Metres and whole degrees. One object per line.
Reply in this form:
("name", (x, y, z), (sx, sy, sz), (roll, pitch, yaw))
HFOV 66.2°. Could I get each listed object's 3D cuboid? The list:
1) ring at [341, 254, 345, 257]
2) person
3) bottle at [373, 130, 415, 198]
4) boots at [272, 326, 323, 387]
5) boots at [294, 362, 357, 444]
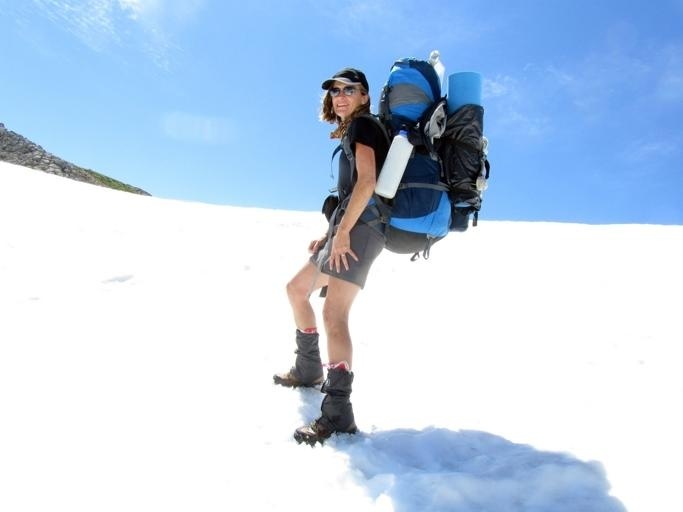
("ring", (0.012, -0.005, 4.710), (0.039, 0.021, 0.024), (-2, -4, 43))
("person", (-0.138, -0.067, 4.860), (0.987, 3.248, 1.415), (4, 15, 19))
("bottle", (0.463, -0.808, 4.702), (0.339, 0.609, 0.176), (-13, 18, -39))
("boots", (-0.447, 1.074, 5.465), (0.593, 0.566, 0.315), (-7, -4, 20))
("boots", (-0.159, 1.317, 4.700), (0.584, 0.667, 0.245), (-9, 17, -30))
